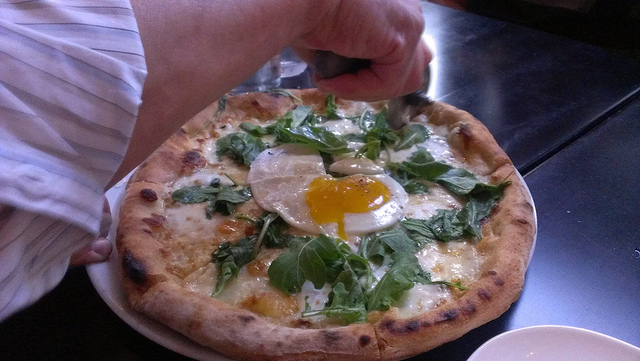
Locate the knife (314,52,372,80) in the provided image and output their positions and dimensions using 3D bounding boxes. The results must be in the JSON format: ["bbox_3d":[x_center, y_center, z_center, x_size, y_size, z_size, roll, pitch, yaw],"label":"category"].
[{"bbox_3d":[0.126,-0.606,2.492,0.227,0.169,0.083,4,53,-56],"label":"knife"}]
